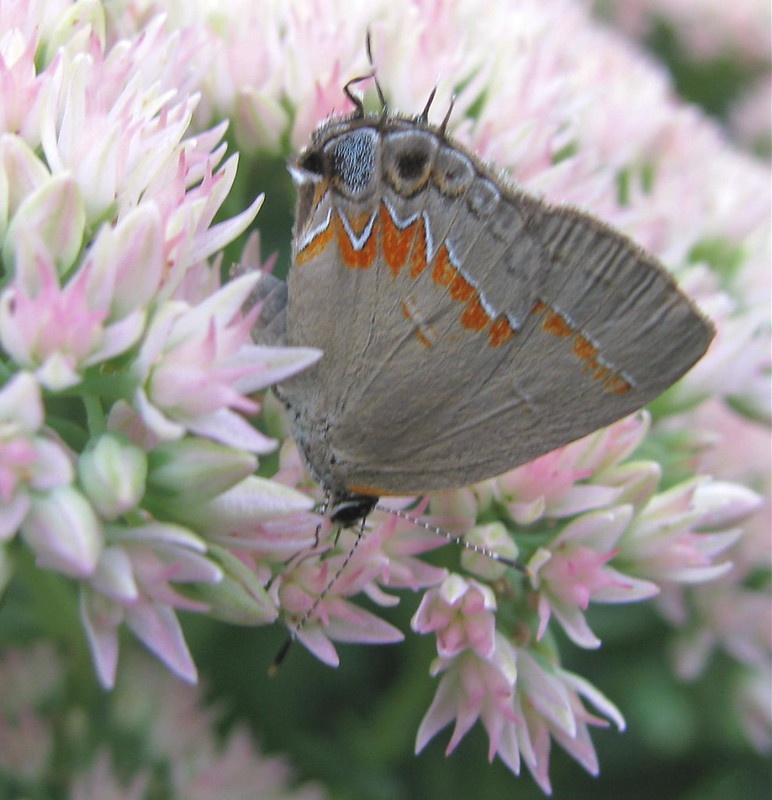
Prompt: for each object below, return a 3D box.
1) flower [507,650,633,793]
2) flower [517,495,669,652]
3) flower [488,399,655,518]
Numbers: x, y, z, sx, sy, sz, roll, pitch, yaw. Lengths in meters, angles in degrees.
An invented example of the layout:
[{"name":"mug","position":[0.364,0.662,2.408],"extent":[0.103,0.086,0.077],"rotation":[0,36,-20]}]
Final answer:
[{"name":"flower","position":[0.176,0.306,0.964],"extent":[0.088,0.062,0.156],"rotation":[-20,64,-22]},{"name":"flower","position":[0.202,0.177,0.972],"extent":[0.083,0.135,0.159],"rotation":[-1,67,43]},{"name":"flower","position":[0.191,0.074,1.046],"extent":[0.136,0.077,0.103],"rotation":[-18,83,-9]}]
